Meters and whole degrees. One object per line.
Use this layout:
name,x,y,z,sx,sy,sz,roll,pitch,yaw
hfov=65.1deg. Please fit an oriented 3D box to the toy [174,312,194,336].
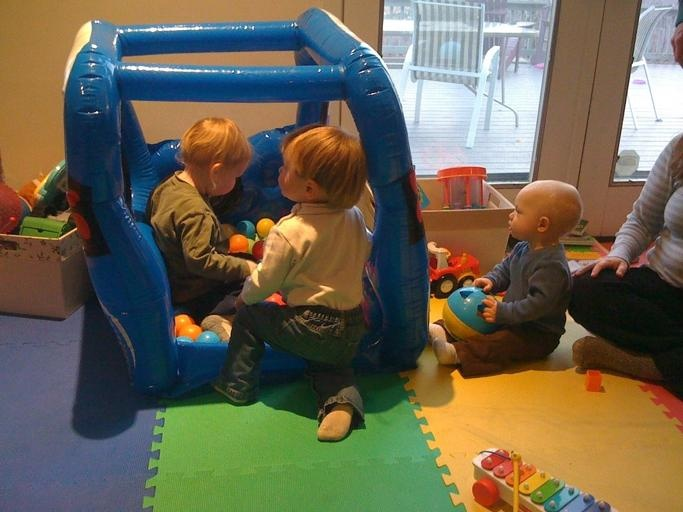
toy,-0.525,0.230,1.797,0.058,0.060,0.060,-1,2,5

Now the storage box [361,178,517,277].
storage box,0.424,-0.097,2.436,0.588,0.387,0.424,-4,27,-4

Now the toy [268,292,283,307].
toy,-0.214,0.137,1.756,0.046,0.018,0.049,3,33,-22

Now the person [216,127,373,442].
person,-0.133,0.057,1.681,0.423,0.894,0.405,5,14,-9

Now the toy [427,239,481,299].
toy,0.426,0.028,2.265,0.253,0.226,0.176,-11,32,-8

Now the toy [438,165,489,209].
toy,0.537,-0.308,2.378,0.192,0.177,0.197,-2,7,-12

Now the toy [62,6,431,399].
toy,-0.212,-0.161,2.022,1.190,1.092,1.235,-2,29,-8

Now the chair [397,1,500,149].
chair,0.495,-0.874,2.548,0.434,0.692,0.424,9,56,6

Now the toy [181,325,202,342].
toy,-0.495,0.252,1.761,0.048,0.050,0.049,9,28,29
